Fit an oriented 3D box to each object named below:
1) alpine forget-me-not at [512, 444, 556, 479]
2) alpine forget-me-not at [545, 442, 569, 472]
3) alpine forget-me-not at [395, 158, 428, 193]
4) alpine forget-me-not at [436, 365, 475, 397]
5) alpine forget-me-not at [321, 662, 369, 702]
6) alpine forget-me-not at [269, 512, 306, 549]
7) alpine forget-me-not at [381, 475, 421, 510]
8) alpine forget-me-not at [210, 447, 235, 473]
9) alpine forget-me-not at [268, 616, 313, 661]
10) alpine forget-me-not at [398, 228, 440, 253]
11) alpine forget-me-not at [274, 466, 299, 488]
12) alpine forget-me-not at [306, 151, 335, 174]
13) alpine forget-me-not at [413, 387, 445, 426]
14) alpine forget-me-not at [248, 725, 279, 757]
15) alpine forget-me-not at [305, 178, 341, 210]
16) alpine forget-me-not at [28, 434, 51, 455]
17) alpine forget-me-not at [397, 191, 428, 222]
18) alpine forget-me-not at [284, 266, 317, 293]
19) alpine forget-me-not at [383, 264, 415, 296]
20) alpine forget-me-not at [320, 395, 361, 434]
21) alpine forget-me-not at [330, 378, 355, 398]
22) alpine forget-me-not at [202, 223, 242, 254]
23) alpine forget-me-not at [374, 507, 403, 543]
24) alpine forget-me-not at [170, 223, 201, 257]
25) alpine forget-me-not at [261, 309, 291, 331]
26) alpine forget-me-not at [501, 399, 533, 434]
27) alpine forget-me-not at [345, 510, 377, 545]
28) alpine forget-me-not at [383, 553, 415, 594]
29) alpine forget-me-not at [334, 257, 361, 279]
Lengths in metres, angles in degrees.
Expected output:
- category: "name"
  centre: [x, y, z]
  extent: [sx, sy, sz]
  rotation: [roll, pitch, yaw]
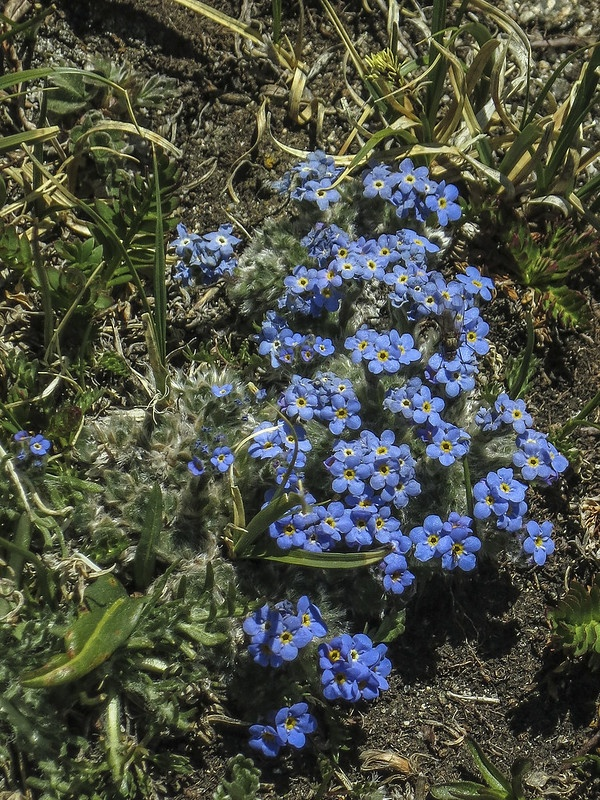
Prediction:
- category: "alpine forget-me-not"
  centre: [0.897, 0.245, 3.181]
  extent: [0.131, 0.040, 0.129]
  rotation: [-38, 87, -25]
- category: "alpine forget-me-not"
  centre: [1.008, 0.233, 3.234]
  extent: [0.106, 0.024, 0.105]
  rotation: [-7, 62, -43]
- category: "alpine forget-me-not"
  centre: [0.463, -0.898, 3.360]
  extent: [0.152, 0.043, 0.138]
  rotation: [-21, 79, -9]
- category: "alpine forget-me-not"
  centre: [0.599, -0.071, 3.176]
  extent: [0.152, 0.075, 0.109]
  rotation: [-25, 60, -25]
- category: "alpine forget-me-not"
  centre: [0.155, 1.011, 2.974]
  extent: [0.157, 0.102, 0.106]
  rotation: [12, 52, 0]
- category: "alpine forget-me-not"
  centre: [-0.042, 0.485, 3.022]
  extent: [0.115, 0.069, 0.115]
  rotation: [-34, 64, -29]
- category: "alpine forget-me-not"
  centre: [0.376, 0.353, 3.112]
  extent: [0.145, 0.066, 0.087]
  rotation: [-17, 57, -21]
- category: "alpine forget-me-not"
  centre: [-0.298, 0.230, 3.197]
  extent: [0.083, 0.077, 0.107]
  rotation: [0, 53, -9]
- category: "alpine forget-me-not"
  centre: [-0.043, 0.865, 2.997]
  extent: [0.123, 0.142, 0.131]
  rotation: [33, 56, 15]
- category: "alpine forget-me-not"
  centre: [0.464, -0.633, 3.324]
  extent: [0.154, 0.055, 0.132]
  rotation: [-8, 54, -15]
- category: "alpine forget-me-not"
  centre: [-0.052, 0.282, 3.061]
  extent: [0.081, 0.019, 0.074]
  rotation: [-11, 45, -13]
- category: "alpine forget-me-not"
  centre: [0.090, -1.001, 3.502]
  extent: [0.119, 0.062, 0.096]
  rotation: [-2, 53, -10]
- category: "alpine forget-me-not"
  centre: [0.478, 0.035, 3.164]
  extent: [0.147, 0.037, 0.138]
  rotation: [-29, 93, -32]
- category: "alpine forget-me-not"
  centre: [-0.131, 1.242, 3.045]
  extent: [0.123, 0.109, 0.085]
  rotation: [13, 53, 1]
- category: "alpine forget-me-not"
  centre: [0.085, -0.829, 3.402]
  extent: [0.133, 0.098, 0.143]
  rotation: [3, 52, -7]
- category: "alpine forget-me-not"
  centre: [-1.011, 0.176, 3.224]
  extent: [0.074, 0.031, 0.070]
  rotation: [19, 72, -36]
- category: "alpine forget-me-not"
  centre: [0.453, -0.776, 3.370]
  extent: [0.135, 0.095, 0.092]
  rotation: [-5, 54, -12]
- category: "alpine forget-me-not"
  centre: [0.005, -0.487, 3.366]
  extent: [0.126, 0.124, 0.108]
  rotation: [9, 53, -3]
- category: "alpine forget-me-not"
  centre: [0.396, -0.473, 3.241]
  extent: [0.107, 0.063, 0.136]
  rotation: [28, 53, 13]
- category: "alpine forget-me-not"
  centre: [0.149, 0.057, 3.125]
  extent: [0.142, 0.105, 0.129]
  rotation: [-2, 53, -10]
- category: "alpine forget-me-not"
  centre: [0.160, -0.045, 3.182]
  extent: [0.095, 0.063, 0.119]
  rotation: [4, 52, -6]
- category: "alpine forget-me-not"
  centre: [-0.338, -0.667, 3.503]
  extent: [0.138, 0.058, 0.159]
  rotation: [9, 51, -2]
- category: "alpine forget-me-not"
  centre: [0.326, 0.467, 3.091]
  extent: [0.105, 0.075, 0.145]
  rotation: [3, 52, -7]
- category: "alpine forget-me-not"
  centre: [-0.487, -0.696, 3.550]
  extent: [0.152, 0.041, 0.149]
  rotation: [-14, 89, 12]
- category: "alpine forget-me-not"
  centre: [-0.102, -0.318, 3.401]
  extent: [0.090, 0.034, 0.077]
  rotation: [50, 39, -5]
- category: "alpine forget-me-not"
  centre: [0.843, 0.057, 3.220]
  extent: [0.126, 0.084, 0.172]
  rotation: [14, 52, 2]
- category: "alpine forget-me-not"
  centre: [0.225, 0.472, 3.060]
  extent: [0.100, 0.078, 0.114]
  rotation: [10, 52, -1]
- category: "alpine forget-me-not"
  centre: [0.355, 0.635, 3.056]
  extent: [0.123, 0.100, 0.109]
  rotation: [31, 55, 14]
- category: "alpine forget-me-not"
  centre: [0.184, -0.495, 3.301]
  extent: [0.103, 0.105, 0.097]
  rotation: [3, 53, -7]
